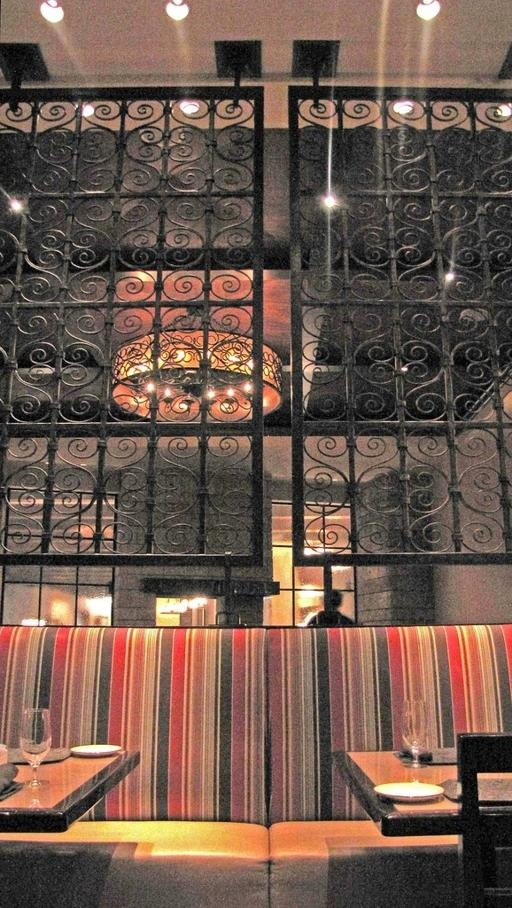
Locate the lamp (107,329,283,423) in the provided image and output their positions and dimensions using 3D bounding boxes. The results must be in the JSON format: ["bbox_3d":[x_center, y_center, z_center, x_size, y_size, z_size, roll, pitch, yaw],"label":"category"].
[{"bbox_3d":[-0.477,-0.657,6.049,1.525,0.361,1.543,1,-10,-11],"label":"lamp"}]
